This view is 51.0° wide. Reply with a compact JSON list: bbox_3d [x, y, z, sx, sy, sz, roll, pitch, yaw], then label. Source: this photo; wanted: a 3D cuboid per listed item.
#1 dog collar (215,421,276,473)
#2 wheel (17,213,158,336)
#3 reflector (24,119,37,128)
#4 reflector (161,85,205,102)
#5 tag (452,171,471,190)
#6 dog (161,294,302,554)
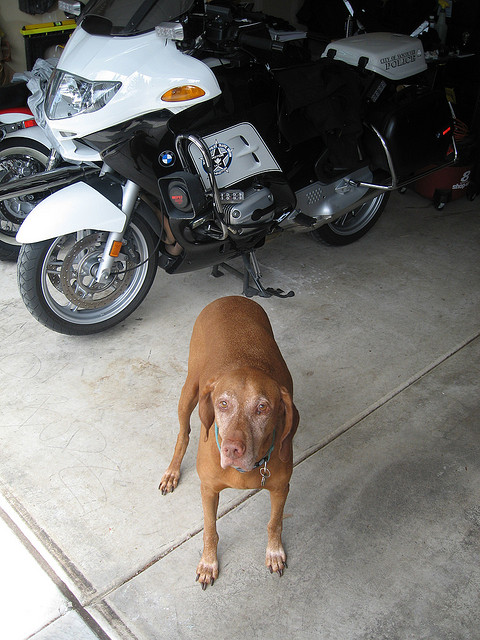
[{"bbox_3d":[0.030,0.321,1.364,0.133,0.158,0.065,3,1,3],"label":"dog collar"},{"bbox_3d":[-0.810,-0.244,2.689,0.633,0.627,0.204,-14,39,-27],"label":"wheel"},{"bbox_3d":[-1.427,-1.335,3.424,0.074,0.046,0.030,-19,34,-13],"label":"reflector"},{"bbox_3d":[-0.250,-0.997,2.264,0.156,0.078,0.045,-11,18,-13],"label":"reflector"},{"bbox_3d":[1.971,-1.250,4.496,0.171,0.105,0.003,-23,52,-25],"label":"tag"},{"bbox_3d":[0.008,0.207,1.580,0.383,0.544,0.932,0,31,0],"label":"dog"}]
